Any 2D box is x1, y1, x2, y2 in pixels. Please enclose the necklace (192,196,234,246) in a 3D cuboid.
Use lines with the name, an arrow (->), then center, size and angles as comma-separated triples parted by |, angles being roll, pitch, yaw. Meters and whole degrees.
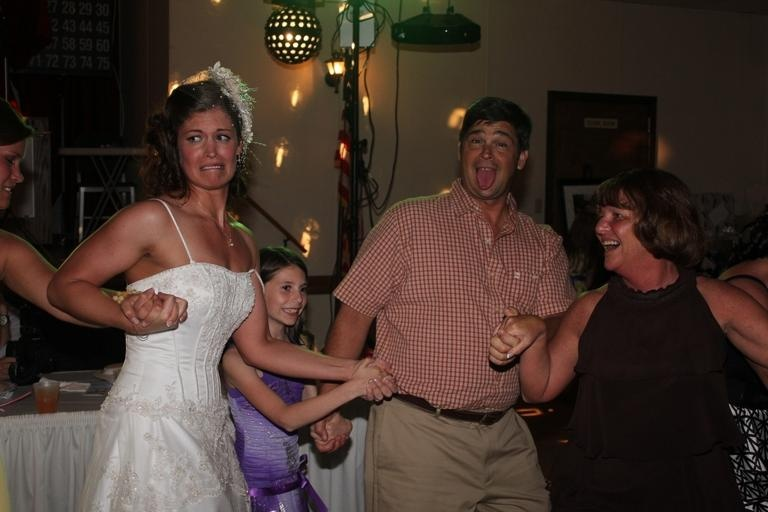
necklace -> -0.786, -0.147, 2.924 | 0.194, 0.195, 0.064 | -17, 2, -43
